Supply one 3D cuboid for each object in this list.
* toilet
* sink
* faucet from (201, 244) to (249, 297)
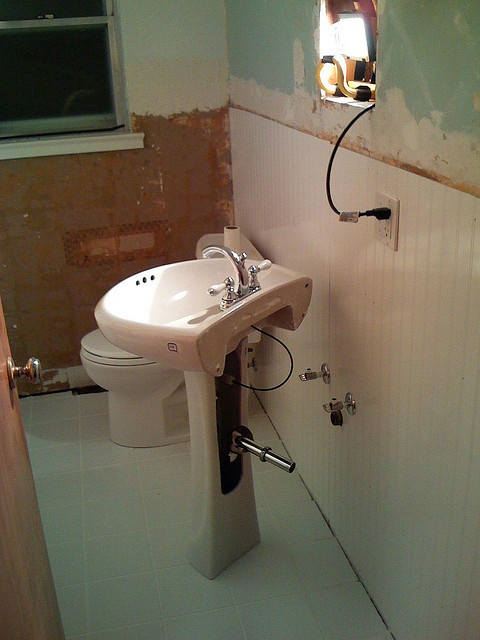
[{"bbox_3d":[-0.204,0.006,2.412,0.939,0.943,0.563,-6,27,-16],"label":"toilet"},{"bbox_3d":[-0.101,-0.030,1.375,0.516,0.161,0.458,-22,30,-39],"label":"sink"},{"bbox_3d":[-0.026,-0.126,1.280,0.079,0.111,0.141,-18,24,-33],"label":"faucet"}]
